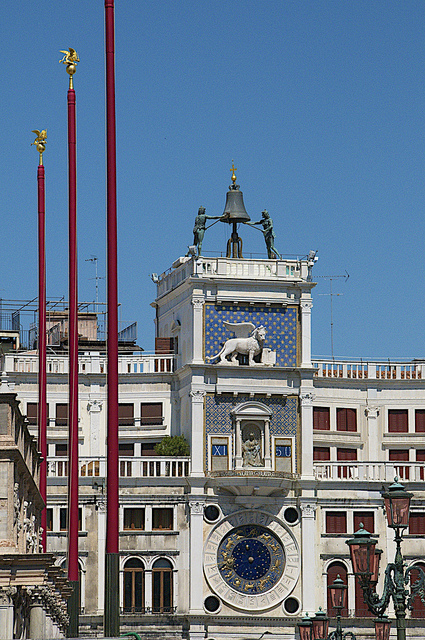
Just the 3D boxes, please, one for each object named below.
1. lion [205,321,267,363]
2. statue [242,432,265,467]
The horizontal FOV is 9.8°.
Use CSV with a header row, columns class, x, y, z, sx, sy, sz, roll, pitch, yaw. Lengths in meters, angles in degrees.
class,x,y,z,sx,sy,sz,roll,pitch,yaw
lion,1.269,1.274,111.485,1.782,1.861,1.854,0,-6,1
statue,1.816,5.929,109.968,0.919,1.684,1.061,0,-9,-3
